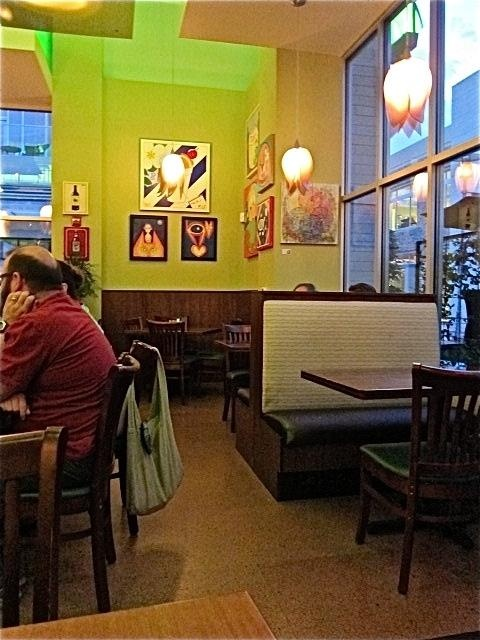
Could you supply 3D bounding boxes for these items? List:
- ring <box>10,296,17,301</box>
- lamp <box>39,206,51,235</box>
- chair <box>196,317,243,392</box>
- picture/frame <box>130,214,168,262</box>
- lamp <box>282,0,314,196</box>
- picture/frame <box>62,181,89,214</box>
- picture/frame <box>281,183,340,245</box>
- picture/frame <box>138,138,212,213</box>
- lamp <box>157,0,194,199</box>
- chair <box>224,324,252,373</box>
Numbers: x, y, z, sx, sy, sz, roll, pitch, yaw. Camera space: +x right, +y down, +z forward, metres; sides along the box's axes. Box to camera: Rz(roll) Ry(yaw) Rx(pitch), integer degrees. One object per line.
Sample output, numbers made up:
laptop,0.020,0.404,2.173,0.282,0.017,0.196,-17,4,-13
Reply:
ring,-0.783,-0.073,1.775,0.015,0.017,0.004,3,6,0
lamp,-2.966,-1.542,7.825,0.143,0.474,0.163,-1,2,-26
chair,-0.255,0.446,5.966,0.523,0.907,0.815,2,-1,-17
picture/frame,-1.369,-1.225,7.557,0.585,0.819,0.030,0,1,-17
lamp,0.590,-2.186,5.275,0.344,1.725,1.406,1,2,8
picture/frame,-2.281,-1.686,7.069,0.376,0.598,0.038,1,-1,-20
picture/frame,0.773,-1.213,5.906,0.612,0.734,0.031,1,-2,-21
picture/frame,-1.001,-2.128,7.500,0.967,1.100,0.044,0,2,-34
lamp,-0.888,-2.758,7.129,0.486,1.916,0.996,0,2,-8
chair,-0.025,0.265,4.835,0.282,0.563,0.368,0,-4,-8
